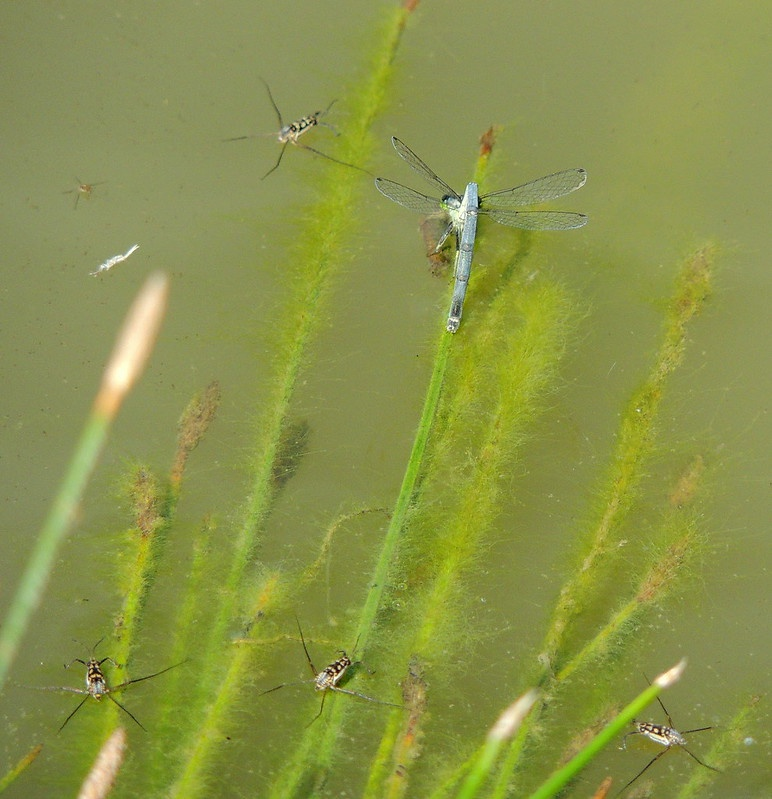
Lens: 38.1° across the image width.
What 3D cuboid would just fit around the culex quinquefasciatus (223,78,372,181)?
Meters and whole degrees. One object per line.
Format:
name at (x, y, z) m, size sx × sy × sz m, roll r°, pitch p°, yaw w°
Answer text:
culex quinquefasciatus at (-0.919, -2.618, 11.045) m, size 0.748 × 0.948 × 1.207 m, roll -19°, pitch 43°, yaw -31°

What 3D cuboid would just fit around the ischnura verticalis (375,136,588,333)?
ischnura verticalis at (0.894, -1.537, 10.768) m, size 1.989 × 1.682 × 0.661 m, roll 8°, pitch -12°, yaw 6°

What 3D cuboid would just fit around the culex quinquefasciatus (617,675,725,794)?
culex quinquefasciatus at (2.697, 3.332, 10.604) m, size 0.817 × 0.935 × 0.277 m, roll 7°, pitch -12°, yaw 13°

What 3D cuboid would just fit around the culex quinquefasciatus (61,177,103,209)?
culex quinquefasciatus at (-3.044, -2.046, 11.150) m, size 0.355 × 0.276 × 0.063 m, roll 6°, pitch -13°, yaw 15°

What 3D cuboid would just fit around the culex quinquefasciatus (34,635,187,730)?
culex quinquefasciatus at (-2.758, 2.687, 10.726) m, size 1.451 × 0.735 × 0.307 m, roll -1°, pitch -8°, yaw -4°
